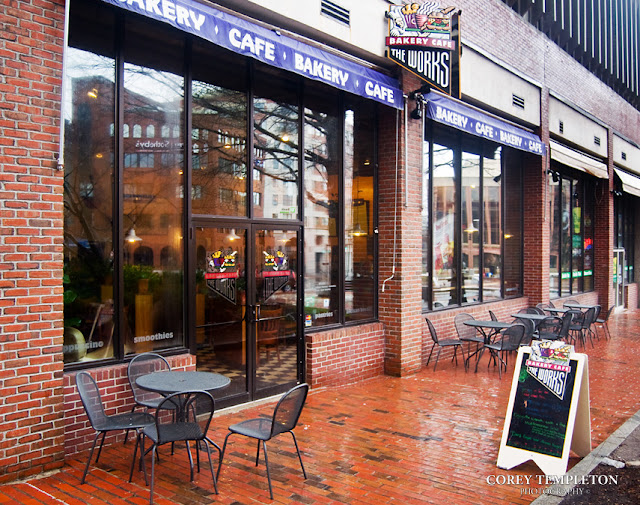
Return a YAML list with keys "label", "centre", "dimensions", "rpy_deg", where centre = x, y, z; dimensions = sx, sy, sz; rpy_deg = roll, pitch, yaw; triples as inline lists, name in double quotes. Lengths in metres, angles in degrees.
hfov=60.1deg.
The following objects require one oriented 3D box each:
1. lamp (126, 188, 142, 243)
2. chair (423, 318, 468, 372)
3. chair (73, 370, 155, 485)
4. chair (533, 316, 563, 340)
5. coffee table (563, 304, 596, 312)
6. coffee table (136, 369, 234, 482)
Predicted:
- label: "lamp"
  centre: [-2.408, -0.495, 7.163]
  dimensions: [0.278, 0.896, 0.067]
  rpy_deg: [-2, 4, -44]
- label: "chair"
  centre: [2.488, 1.774, 10.920]
  dimensions: [0.728, 0.988, 0.643]
  rpy_deg: [-2, 0, 7]
- label: "chair"
  centre: [-2.205, 1.865, 6.062]
  dimensions: [0.797, 1.075, 0.696]
  rpy_deg: [1, -2, -8]
- label: "chair"
  centre: [5.087, 1.580, 12.255]
  dimensions: [0.548, 0.571, 1.716]
  rpy_deg: [3, 3, 24]
- label: "coffee table"
  centre: [6.984, 1.481, 14.947]
  dimensions: [0.539, 0.144, 0.605]
  rpy_deg: [-2, 3, -13]
- label: "coffee table"
  centre: [-1.575, 1.821, 6.385]
  dimensions: [1.032, 0.731, 0.994]
  rpy_deg: [1, -1, -42]
